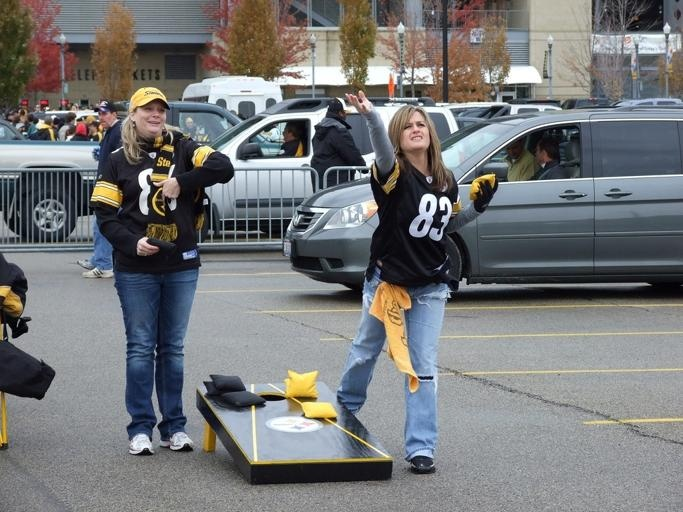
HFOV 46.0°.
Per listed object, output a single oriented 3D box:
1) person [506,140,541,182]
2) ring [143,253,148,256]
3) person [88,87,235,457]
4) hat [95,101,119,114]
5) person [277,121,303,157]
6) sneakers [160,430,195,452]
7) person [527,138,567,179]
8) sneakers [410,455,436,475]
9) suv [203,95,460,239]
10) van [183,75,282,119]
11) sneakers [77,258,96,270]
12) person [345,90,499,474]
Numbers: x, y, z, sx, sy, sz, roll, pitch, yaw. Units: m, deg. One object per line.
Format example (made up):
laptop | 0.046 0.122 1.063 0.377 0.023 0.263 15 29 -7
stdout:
person | 2.275 -1.154 10.008 0.436 0.809 0.846 0 4 11
ring | -1.245 -0.015 5.123 0.017 0.018 0.018 -1 9 0
person | -1.206 0.103 5.322 0.807 2.385 0.366 -2 8 -19
hat | -3.090 -1.994 10.771 0.327 0.171 0.211 4 0 -41
person | -0.892 -2.123 14.750 0.413 0.655 0.913 5 5 20
sneakers | -1.089 1.237 5.395 0.111 0.092 0.226 3 -5 -38
person | 2.602 -1.207 10.046 0.445 0.601 0.783 4 19 17
sneakers | 0.512 1.305 5.077 0.166 0.119 0.115 1 8 7
suv | -0.300 -1.681 15.027 4.396 1.991 2.292 -2 4 -10
van | -3.550 -5.600 27.519 3.479 1.820 2.455 -4 13 -12
sneakers | -3.882 0.126 12.307 0.351 0.158 0.127 15 8 22
person | 0.451 0.145 5.223 0.950 2.361 0.703 0 8 0
